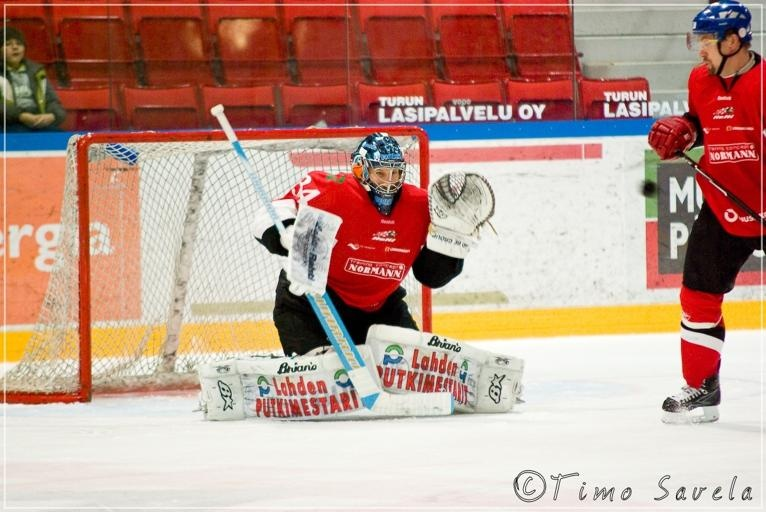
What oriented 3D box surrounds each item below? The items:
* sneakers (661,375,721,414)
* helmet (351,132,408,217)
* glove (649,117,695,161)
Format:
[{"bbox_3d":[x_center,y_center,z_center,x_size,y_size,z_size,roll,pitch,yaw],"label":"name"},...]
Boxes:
[{"bbox_3d":[1.550,0.701,5.418,0.368,0.225,0.129,1,-14,2],"label":"sneakers"},{"bbox_3d":[-0.050,-0.449,5.684,0.298,0.372,0.379,-3,39,-17],"label":"helmet"},{"bbox_3d":[1.487,-0.599,5.586,0.181,0.244,0.245,-2,3,31],"label":"glove"}]
